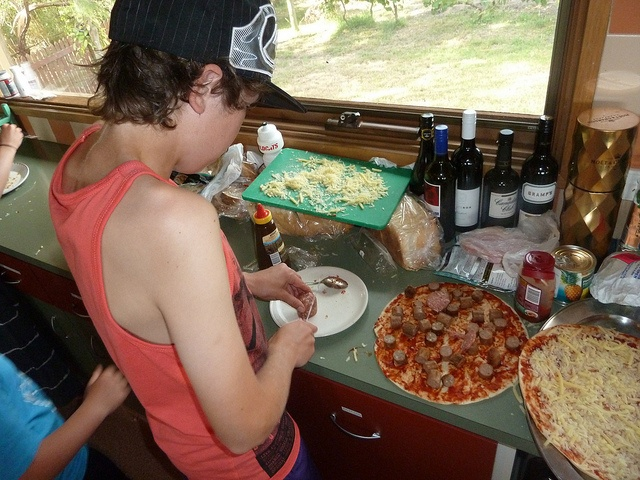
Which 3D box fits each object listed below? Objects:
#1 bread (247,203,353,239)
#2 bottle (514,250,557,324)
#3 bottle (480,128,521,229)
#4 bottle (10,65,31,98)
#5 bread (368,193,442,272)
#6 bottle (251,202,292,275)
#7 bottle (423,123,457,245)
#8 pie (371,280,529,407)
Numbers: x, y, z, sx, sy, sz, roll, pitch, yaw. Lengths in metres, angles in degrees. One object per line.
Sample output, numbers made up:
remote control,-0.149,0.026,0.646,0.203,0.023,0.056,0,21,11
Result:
bread,-0.038,-0.086,1.507,0.228,0.074,0.178,13,6,18
bottle,0.587,0.129,1.186,0.079,0.190,0.106,-24,35,-25
bottle,0.567,-0.187,1.348,0.115,0.347,0.115,-4,34,3
bottle,-1.668,-0.883,2.408,0.117,0.153,0.055,13,38,26
bread,0.299,-0.054,1.471,0.173,0.130,0.297,-25,38,0
bottle,-0.158,-0.007,1.400,0.088,0.225,0.090,-4,47,4
bottle,0.391,-0.193,1.404,0.112,0.412,0.142,-8,34,-2
pie,0.347,0.256,1.185,0.388,0.070,0.406,15,41,28
